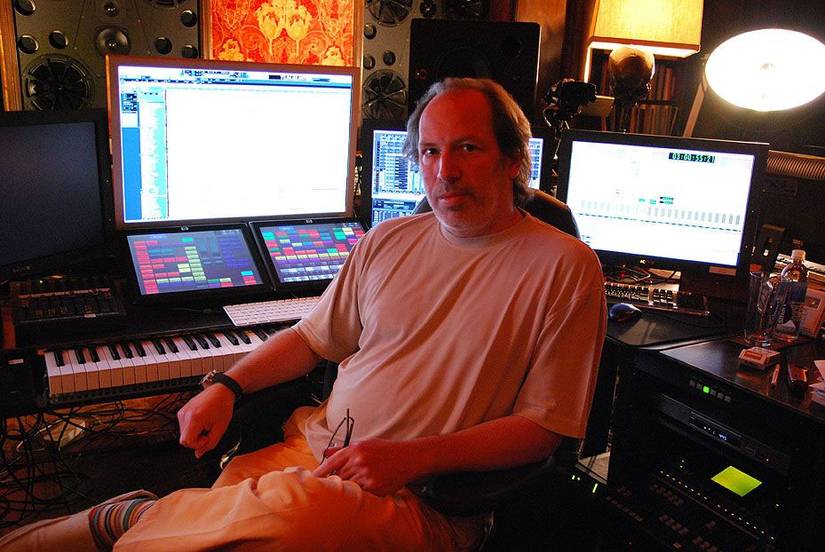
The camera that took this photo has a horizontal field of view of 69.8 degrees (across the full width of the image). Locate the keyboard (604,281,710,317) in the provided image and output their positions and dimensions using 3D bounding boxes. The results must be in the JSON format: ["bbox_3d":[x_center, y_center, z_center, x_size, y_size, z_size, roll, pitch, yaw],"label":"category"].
[{"bbox_3d":[1.032,0.101,2.510,0.409,0.072,0.203,1,19,10],"label":"keyboard"}]

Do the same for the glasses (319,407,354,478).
[{"bbox_3d":[-0.235,0.543,1.907,0.044,0.150,0.150,26,53,-14],"label":"glasses"}]

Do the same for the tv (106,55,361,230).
[{"bbox_3d":[-0.820,-0.583,2.600,0.834,0.517,0.035,-3,14,-25],"label":"tv"}]

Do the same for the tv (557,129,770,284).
[{"bbox_3d":[1.063,-0.290,2.498,0.611,0.447,0.159,9,19,18],"label":"tv"}]

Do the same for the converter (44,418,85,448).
[{"bbox_3d":[-1.808,0.838,3.123,0.179,0.043,0.176,15,36,41],"label":"converter"}]
